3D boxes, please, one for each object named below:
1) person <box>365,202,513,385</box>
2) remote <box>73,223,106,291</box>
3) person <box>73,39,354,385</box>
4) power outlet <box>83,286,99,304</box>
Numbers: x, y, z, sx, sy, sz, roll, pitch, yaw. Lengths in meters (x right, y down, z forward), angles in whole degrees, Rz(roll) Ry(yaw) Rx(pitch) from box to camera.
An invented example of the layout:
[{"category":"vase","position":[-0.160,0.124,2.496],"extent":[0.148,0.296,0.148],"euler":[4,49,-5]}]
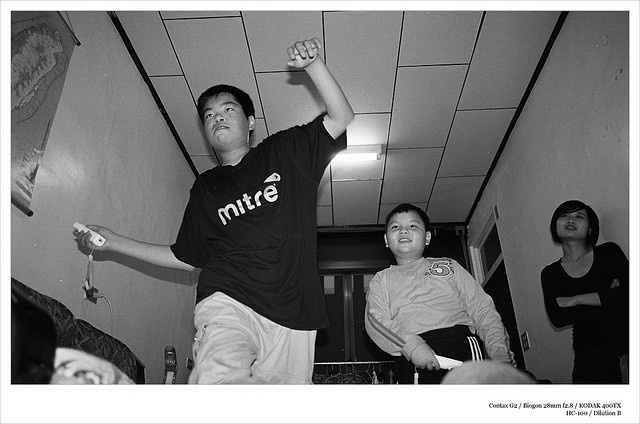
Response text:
[{"category":"person","position":[0.567,0.459,2.294],"extent":[0.674,0.771,0.811],"euler":[-2,14,-11]},{"category":"remote","position":[-1.269,0.290,2.364],"extent":[0.196,0.302,0.102],"euler":[-6,13,-43]},{"category":"person","position":[-0.296,-0.034,1.901],"extent":[0.904,1.394,1.031],"euler":[-10,17,-36]},{"category":"power outlet","position":[-1.286,0.476,2.398],"extent":[0.107,0.094,0.038],"euler":[2,12,-4]}]
